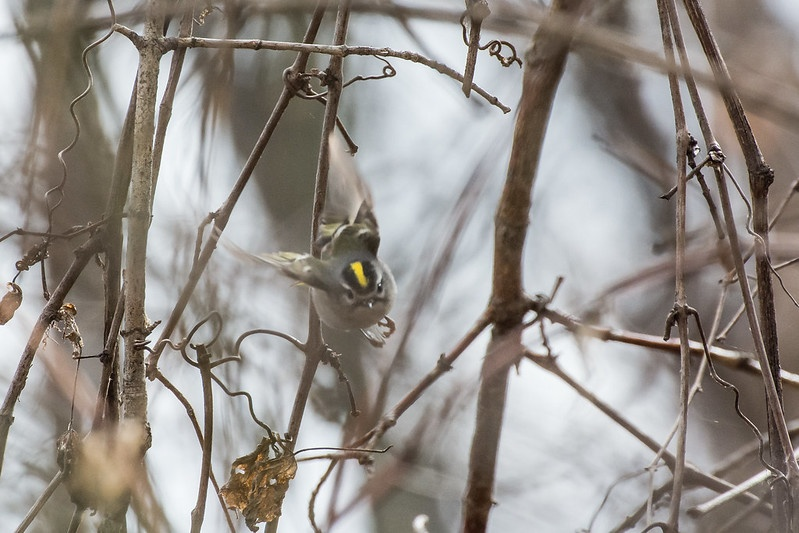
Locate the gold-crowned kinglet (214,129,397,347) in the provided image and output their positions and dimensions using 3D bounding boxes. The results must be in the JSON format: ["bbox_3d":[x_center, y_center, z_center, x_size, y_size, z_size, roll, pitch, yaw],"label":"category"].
[{"bbox_3d":[-0.498,-0.108,5.630,0.740,0.678,0.900,-52,-46,-7],"label":"gold-crowned kinglet"}]
